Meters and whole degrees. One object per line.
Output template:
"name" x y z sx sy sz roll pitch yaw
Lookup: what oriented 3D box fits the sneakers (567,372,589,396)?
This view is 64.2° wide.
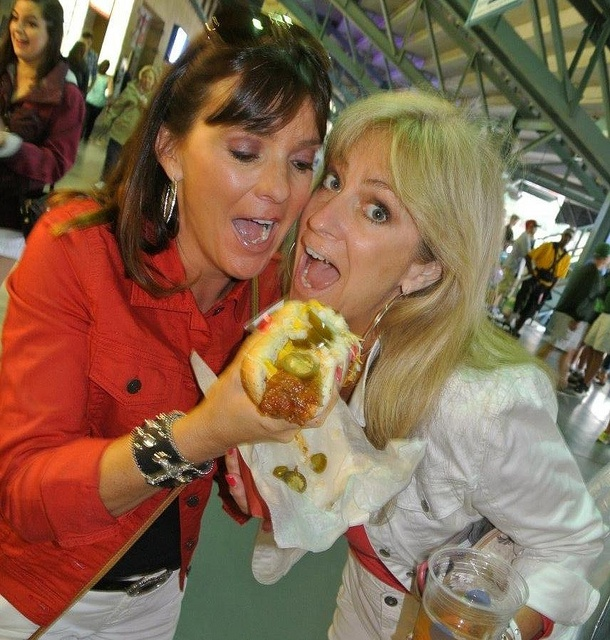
"sneakers" 4.240 1.036 7.588 0.204 0.263 0.583 -1 -23 40

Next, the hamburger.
"hamburger" -0.008 0.061 0.794 0.179 0.089 0.243 14 38 9

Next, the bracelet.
"bracelet" -0.260 0.236 0.919 0.090 0.126 0.132 -15 2 -16

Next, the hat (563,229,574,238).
"hat" 4.809 -1.580 8.926 0.135 0.204 0.191 -7 -4 11
